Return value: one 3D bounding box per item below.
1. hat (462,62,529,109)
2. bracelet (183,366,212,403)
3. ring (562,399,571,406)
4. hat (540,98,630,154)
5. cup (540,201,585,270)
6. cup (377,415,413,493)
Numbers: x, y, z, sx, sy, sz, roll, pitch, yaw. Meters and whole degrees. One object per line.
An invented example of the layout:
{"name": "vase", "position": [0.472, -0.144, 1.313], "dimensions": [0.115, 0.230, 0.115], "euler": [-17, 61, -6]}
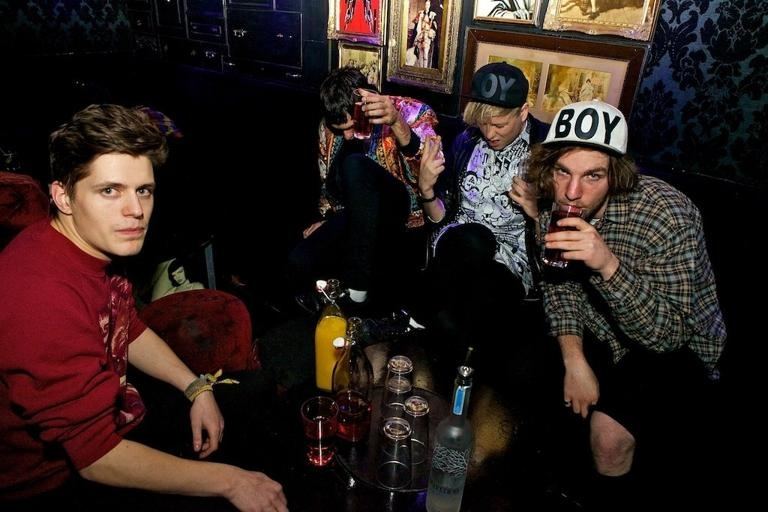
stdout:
{"name": "hat", "position": [0.703, -1.037, 3.267], "dimensions": [0.282, 0.204, 0.365], "euler": [16, 36, 26]}
{"name": "bracelet", "position": [-0.826, 0.575, 2.430], "dimensions": [0.045, 0.118, 0.105], "euler": [53, 11, 19]}
{"name": "ring", "position": [0.895, 0.715, 2.630], "dimensions": [0.036, 0.032, 0.009], "euler": [0, -4, 24]}
{"name": "hat", "position": [1.033, -0.691, 2.673], "dimensions": [0.320, 0.192, 0.344], "euler": [20, 37, 34]}
{"name": "cup", "position": [0.825, -0.076, 2.513], "dimensions": [0.128, 0.338, 0.141], "euler": [13, 26, 21]}
{"name": "cup", "position": [0.048, 0.775, 2.113], "dimensions": [0.135, 0.239, 0.142], "euler": [2, 24, -1]}
